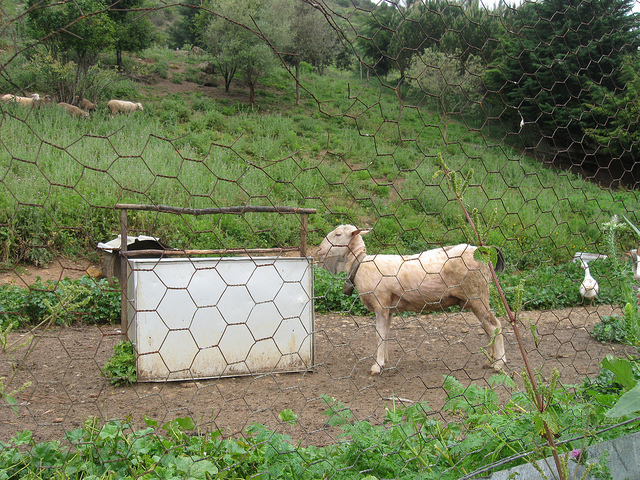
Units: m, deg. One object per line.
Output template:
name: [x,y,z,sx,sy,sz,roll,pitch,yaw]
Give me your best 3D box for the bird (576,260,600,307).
bird: [4.478,0.756,13.941,0.235,0.775,0.814,2,8,8]
